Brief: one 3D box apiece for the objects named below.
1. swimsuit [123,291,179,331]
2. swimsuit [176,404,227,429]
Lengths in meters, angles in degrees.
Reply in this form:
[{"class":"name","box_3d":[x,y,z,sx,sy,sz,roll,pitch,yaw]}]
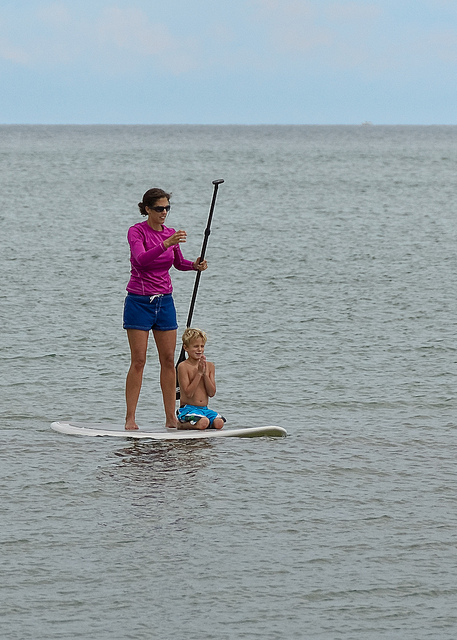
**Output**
[{"class":"swimsuit","box_3d":[-0.458,-0.049,8.304,0.288,0.230,0.099,-2,12,-13]},{"class":"swimsuit","box_3d":[-0.190,0.534,8.523,0.198,0.081,0.155,3,1,27]}]
